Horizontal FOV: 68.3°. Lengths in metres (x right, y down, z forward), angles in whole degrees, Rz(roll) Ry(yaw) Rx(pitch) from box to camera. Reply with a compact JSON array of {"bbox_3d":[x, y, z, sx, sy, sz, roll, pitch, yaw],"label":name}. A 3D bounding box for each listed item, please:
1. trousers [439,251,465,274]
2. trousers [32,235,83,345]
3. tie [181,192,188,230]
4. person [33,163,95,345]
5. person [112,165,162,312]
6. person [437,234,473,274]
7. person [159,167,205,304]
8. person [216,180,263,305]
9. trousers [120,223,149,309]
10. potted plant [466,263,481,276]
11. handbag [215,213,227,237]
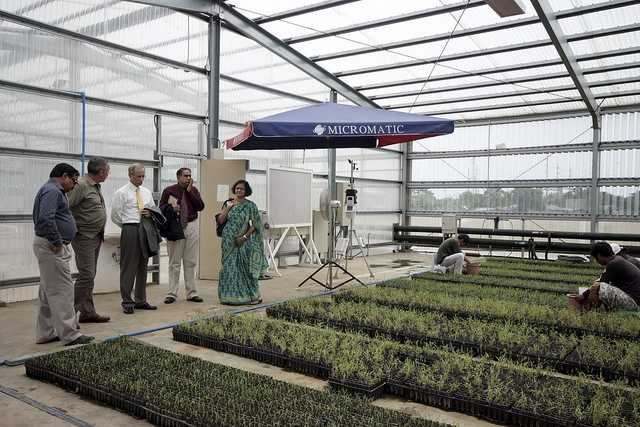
[{"bbox_3d":[3.041,1.042,10.801,0.402,0.377,0.563,13,1,13],"label":"trousers"},{"bbox_3d":[-3.484,1.025,6.266,0.694,1.454,0.398,7,12,32],"label":"trousers"},{"bbox_3d":[-2.408,-0.032,8.377,0.108,0.621,0.239,-2,11,-14],"label":"tie"},{"bbox_3d":[-3.474,0.577,6.183,0.598,2.369,0.677,-7,12,-33],"label":"person"},{"bbox_3d":[-2.968,0.433,7.730,0.730,2.367,0.597,-4,11,-24],"label":"person"},{"bbox_3d":[3.130,0.900,11.021,0.815,0.901,1.018,5,7,6],"label":"person"},{"bbox_3d":[-2.443,0.398,8.384,0.727,2.331,0.635,-3,11,-18],"label":"person"},{"bbox_3d":[-1.401,0.530,8.260,0.801,2.144,0.654,-2,11,-14],"label":"person"},{"bbox_3d":[-3.047,0.863,7.716,0.426,1.394,0.355,-5,11,-25],"label":"trousers"},{"bbox_3d":[3.452,1.267,10.718,0.250,0.268,0.357,3,11,16],"label":"potted plant"},{"bbox_3d":[-1.805,0.218,8.523,0.284,0.424,0.147,-1,6,-35],"label":"handbag"}]
